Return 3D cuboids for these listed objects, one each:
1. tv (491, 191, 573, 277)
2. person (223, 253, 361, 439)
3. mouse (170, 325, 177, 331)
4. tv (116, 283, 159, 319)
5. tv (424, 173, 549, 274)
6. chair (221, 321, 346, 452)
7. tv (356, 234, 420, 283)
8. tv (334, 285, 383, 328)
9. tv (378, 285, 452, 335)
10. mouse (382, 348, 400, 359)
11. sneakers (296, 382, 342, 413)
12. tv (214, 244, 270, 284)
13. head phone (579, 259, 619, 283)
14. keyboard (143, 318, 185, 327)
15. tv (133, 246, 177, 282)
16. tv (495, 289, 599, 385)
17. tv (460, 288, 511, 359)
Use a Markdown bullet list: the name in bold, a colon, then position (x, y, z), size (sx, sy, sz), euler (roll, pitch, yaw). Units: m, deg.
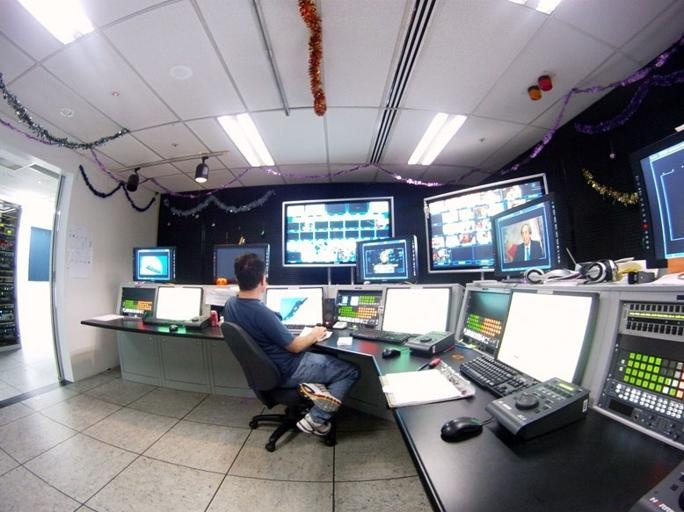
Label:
- **tv**: position (1.405, -0.100, 3.299), size (0.058, 0.570, 0.574), euler (5, -12, -29)
- **person**: position (-0.462, 0.821, 3.819), size (1.052, 1.733, 0.956), euler (-9, 5, 1)
- **mouse**: position (-1.639, 0.695, 4.157), size (0.049, 0.057, 0.050), euler (2, 15, 5)
- **tv**: position (-2.270, 0.512, 4.829), size (0.428, 0.389, 0.172), euler (3, -2, 2)
- **tv**: position (1.396, -0.299, 4.167), size (1.243, 0.913, 0.092), euler (-7, -11, 36)
- **chair**: position (-0.515, 1.042, 3.813), size (0.885, 1.115, 0.872), euler (-6, 2, -22)
- **tv**: position (0.445, 0.039, 4.251), size (0.512, 0.369, 0.070), euler (-4, -10, 26)
- **tv**: position (0.168, 0.473, 3.957), size (0.335, 0.288, 0.121), euler (-4, -22, 25)
- **tv**: position (0.615, 0.450, 3.654), size (0.623, 0.389, 0.224), euler (-2, -2, 45)
- **mouse**: position (0.356, 0.720, 3.185), size (0.103, 0.040, 0.063), euler (-1, -1, -26)
- **sneakers**: position (-0.182, 1.128, 3.466), size (0.318, 0.119, 0.157), euler (30, 17, 15)
- **tv**: position (-0.988, 0.080, 4.178), size (0.411, 0.288, 0.042), euler (-2, -8, 12)
- **head phone**: position (1.705, 0.102, 2.871), size (0.141, 0.101, 0.184), euler (0, -6, -4)
- **keyboard**: position (-1.840, 0.683, 4.389), size (0.538, 0.059, 0.141), euler (-2, -1, 28)
- **tv**: position (-2.239, 0.111, 5.132), size (0.580, 0.433, 0.062), euler (-1, -1, 15)
- **tv**: position (1.321, 0.525, 2.714), size (0.075, 0.566, 0.476), euler (23, -2, -39)
- **tv**: position (1.025, 0.468, 3.264), size (0.503, 0.496, 0.177), euler (17, -6, -31)
